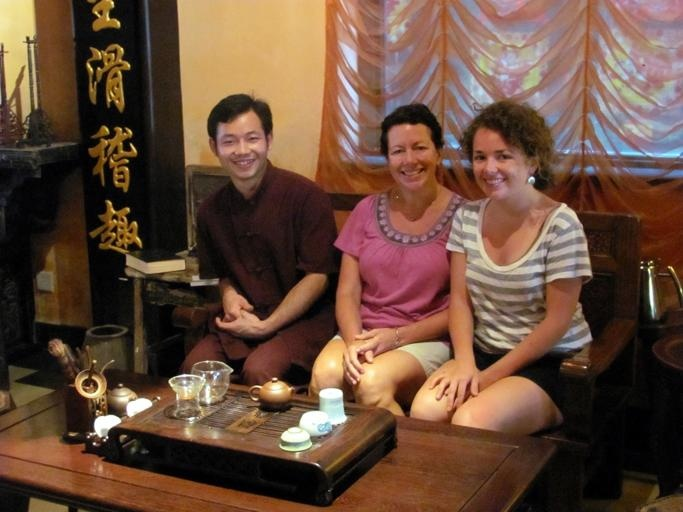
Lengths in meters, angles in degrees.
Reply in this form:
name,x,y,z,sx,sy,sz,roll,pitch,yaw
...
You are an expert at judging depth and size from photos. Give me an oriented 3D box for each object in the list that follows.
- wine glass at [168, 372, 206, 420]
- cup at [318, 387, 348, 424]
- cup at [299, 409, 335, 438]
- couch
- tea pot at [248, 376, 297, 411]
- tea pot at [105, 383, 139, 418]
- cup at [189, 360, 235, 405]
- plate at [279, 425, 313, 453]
name,x,y,z,sx,sy,sz,roll,pitch,yaw
wine glass,-0.495,0.445,1.911,0.123,0.115,0.122,1,6,-16
cup,-0.027,0.464,1.842,0.089,0.088,0.100,-3,6,-6
cup,-0.077,0.494,1.781,0.078,0.044,0.077,2,4,0
couch,0.395,0.403,2.646,1.107,1.483,1.017,4,9,34
tea pot,-0.231,0.451,1.982,0.152,0.084,0.105,-1,0,-1
tea pot,-0.756,0.499,2.074,0.117,0.079,0.081,-1,7,-12
cup,-0.426,0.427,2.003,0.117,0.115,0.147,4,3,42
plate,-0.133,0.522,1.710,0.093,0.048,0.101,-1,8,-4
